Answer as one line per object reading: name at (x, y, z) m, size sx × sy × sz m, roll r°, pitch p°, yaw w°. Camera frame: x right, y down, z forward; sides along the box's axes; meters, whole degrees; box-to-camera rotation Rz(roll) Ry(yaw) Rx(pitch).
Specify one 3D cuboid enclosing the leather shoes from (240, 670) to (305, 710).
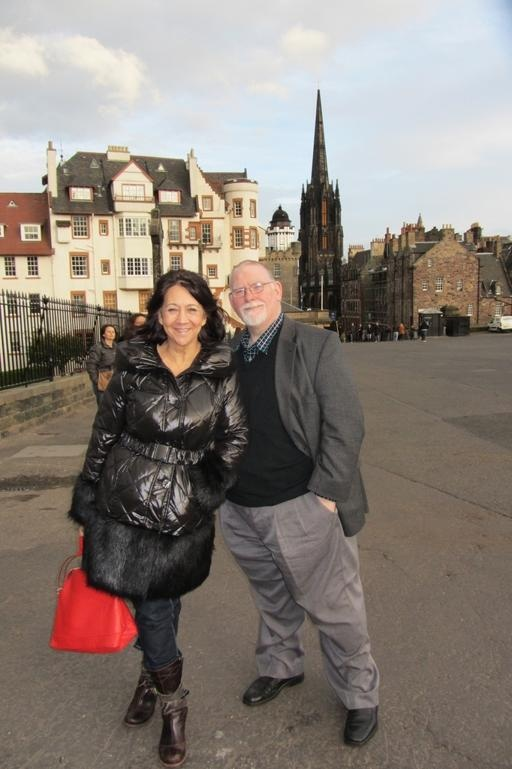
leather shoes at (0.080, 1.348, 2.701) m, size 0.259 × 0.123 × 0.088 m, roll 7°, pitch -6°, yaw -36°

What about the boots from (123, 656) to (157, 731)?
boots at (-0.473, 1.306, 2.608) m, size 0.110 × 0.234 × 0.321 m, roll 2°, pitch -3°, yaw 0°

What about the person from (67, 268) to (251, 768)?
person at (-0.378, 0.484, 2.393) m, size 0.703 × 1.891 × 0.551 m, roll -3°, pitch 6°, yaw -19°

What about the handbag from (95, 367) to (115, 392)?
handbag at (-1.748, -0.065, 6.884) m, size 0.118 × 0.341 × 0.320 m, roll 8°, pitch -7°, yaw -34°
